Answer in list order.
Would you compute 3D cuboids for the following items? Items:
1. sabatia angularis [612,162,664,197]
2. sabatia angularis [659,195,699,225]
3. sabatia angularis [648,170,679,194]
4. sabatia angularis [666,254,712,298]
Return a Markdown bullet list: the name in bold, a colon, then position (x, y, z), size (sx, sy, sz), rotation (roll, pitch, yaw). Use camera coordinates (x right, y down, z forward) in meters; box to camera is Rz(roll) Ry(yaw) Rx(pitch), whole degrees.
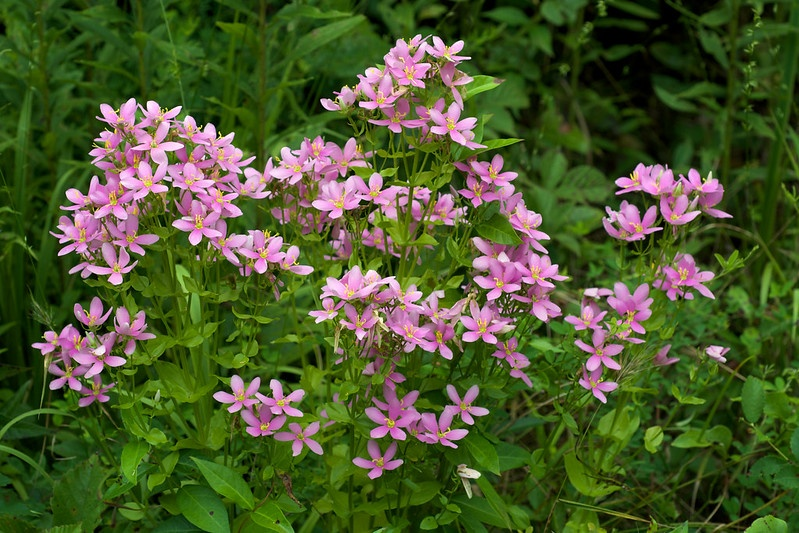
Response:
- **sabatia angularis**: position (0.901, -0.338, 2.878), size (0.135, 0.055, 0.150), rotation (2, 54, 47)
- **sabatia angularis**: position (1.025, -0.193, 2.859), size (0.139, 0.108, 0.104), rotation (-3, 47, 0)
- **sabatia angularis**: position (0.961, -0.314, 2.852), size (0.074, 0.056, 0.103), rotation (-9, 59, 9)
- **sabatia angularis**: position (1.072, 0.028, 2.924), size (0.124, 0.065, 0.136), rotation (3, 19, 40)
